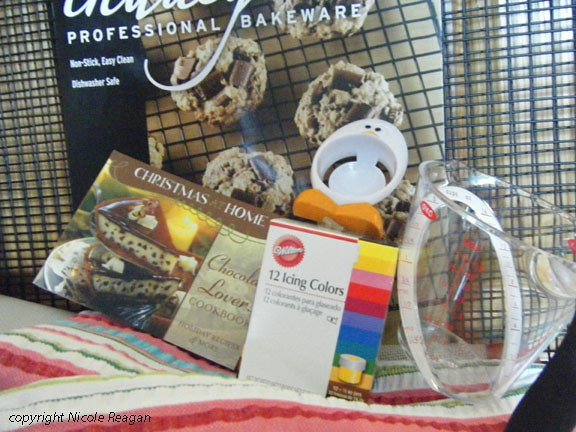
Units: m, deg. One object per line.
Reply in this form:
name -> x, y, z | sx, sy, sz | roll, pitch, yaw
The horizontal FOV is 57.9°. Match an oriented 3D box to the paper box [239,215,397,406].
paper box -> 0.067, 0.182, 1.147 | 0.310, 0.359, 0.090 | 11, 2, 2

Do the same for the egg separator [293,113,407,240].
egg separator -> 0.190, -0.113, 1.306 | 0.258, 0.074, 0.326 | 0, -43, 8
